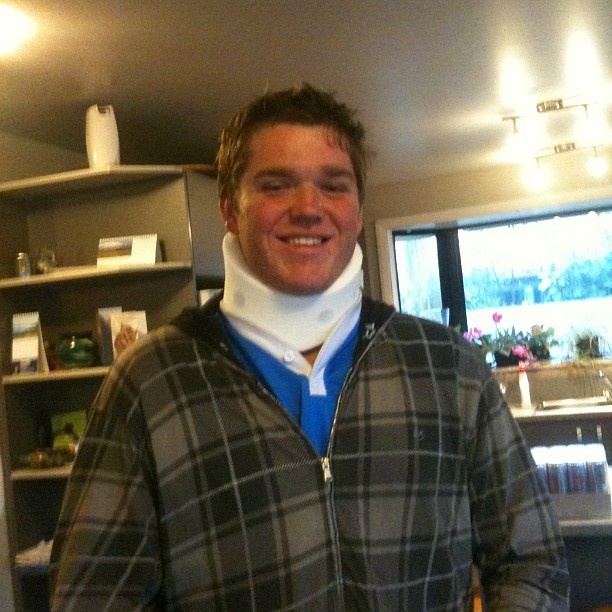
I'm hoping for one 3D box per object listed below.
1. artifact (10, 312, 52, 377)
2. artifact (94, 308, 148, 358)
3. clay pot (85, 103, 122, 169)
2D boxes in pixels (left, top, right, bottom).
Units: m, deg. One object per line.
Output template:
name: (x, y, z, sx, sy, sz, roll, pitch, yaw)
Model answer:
artifact: (-1.252, 0.181, 2.685, 0.172, 0.274, 0.077, -11, -6, 20)
artifact: (-0.722, 0.100, 2.295, 0.154, 0.295, 0.185, -2, -1, 3)
clay pot: (-0.868, -0.756, 2.553, 0.128, 0.086, 0.341, -19, -29, -25)
